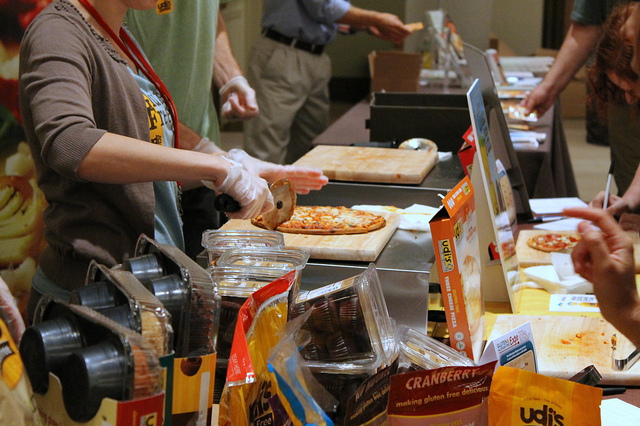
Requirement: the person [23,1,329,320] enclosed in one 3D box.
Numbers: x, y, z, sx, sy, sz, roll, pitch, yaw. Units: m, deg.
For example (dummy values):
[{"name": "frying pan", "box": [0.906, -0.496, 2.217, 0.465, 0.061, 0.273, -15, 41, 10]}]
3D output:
[{"name": "person", "box": [-0.505, -0.201, 1.697, 0.717, 0.844, 0.809, 7, 32, 14]}]
